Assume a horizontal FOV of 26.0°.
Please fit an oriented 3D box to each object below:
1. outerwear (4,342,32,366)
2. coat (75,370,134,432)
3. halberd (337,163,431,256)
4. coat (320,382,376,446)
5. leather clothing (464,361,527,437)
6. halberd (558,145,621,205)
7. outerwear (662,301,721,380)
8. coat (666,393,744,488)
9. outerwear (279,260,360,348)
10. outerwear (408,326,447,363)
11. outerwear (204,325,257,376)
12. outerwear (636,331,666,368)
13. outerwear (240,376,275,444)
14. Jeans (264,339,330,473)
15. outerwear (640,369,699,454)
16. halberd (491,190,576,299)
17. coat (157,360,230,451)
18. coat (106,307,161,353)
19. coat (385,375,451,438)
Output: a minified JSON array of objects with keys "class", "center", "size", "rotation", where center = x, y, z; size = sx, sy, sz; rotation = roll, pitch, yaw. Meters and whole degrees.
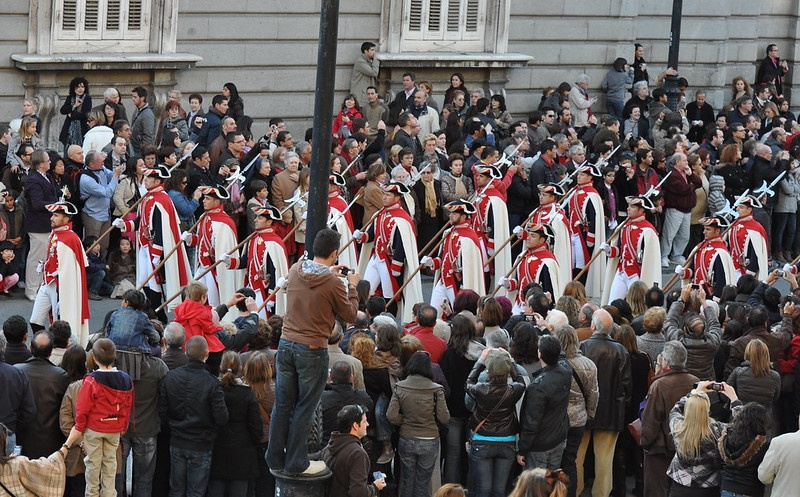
[{"class":"outerwear","center":[-5.161,1.411,23.222],"size":[0.507,0.273,0.261],"rotation":[0,8,-7]},{"class":"coat","center":[-3.919,2.007,22.765],"size":[0.784,0.802,0.505],"rotation":[-3,18,-23]},{"class":"halberd","center":[-0.353,-0.437,28.866],"size":[1.001,1.978,0.843],"rotation":[7,12,7]},{"class":"coat","center":[-0.765,2.144,23.062],"size":[0.997,0.695,0.440],"rotation":[-8,1,-19]},{"class":"leather clothing","center":[1.293,2.019,23.110],"size":[0.999,1.110,0.619],"rotation":[0,39,1]},{"class":"halberd","center":[3.244,-1.244,29.772],"size":[0.397,0.276,1.594],"rotation":[5,33,38]},{"class":"outerwear","center":[4.154,1.484,24.583],"size":[0.761,1.318,0.931],"rotation":[-4,33,-5]},{"class":"coat","center":[4.003,2.539,22.722],"size":[0.921,1.152,0.789],"rotation":[16,50,18]},{"class":"outerwear","center":[-1.074,0.712,22.149],"size":[1.097,0.937,0.792],"rotation":[13,3,21]},{"class":"outerwear","center":[0.382,1.309,23.911],"size":[0.564,0.483,0.436],"rotation":[4,3,12]},{"class":"outerwear","center":[-2.362,1.383,23.838],"size":[0.663,0.692,0.368],"rotation":[3,3,-13]},{"class":"outerwear","center":[3.503,1.417,24.103],"size":[0.509,0.556,0.330],"rotation":[7,3,6]},{"class":"outerwear","center":[-1.850,2.134,23.009],"size":[0.682,0.776,0.356],"rotation":[-3,8,-28]},{"class":"Jeans","center":[-1.291,1.928,22.020],"size":[0.720,1.712,0.563],"rotation":[3,0,34]},{"class":"outerwear","center":[3.686,2.263,23.750],"size":[0.979,1.169,0.750],"rotation":[-7,4,-35]},{"class":"halberd","center":[2.175,-0.034,27.958],"size":[0.926,2.197,0.983],"rotation":[-18,37,-42]},{"class":"coat","center":[-2.688,2.107,23.219],"size":[1.092,1.187,0.747],"rotation":[3,-2,25]},{"class":"coat","center":[-3.695,1.189,23.285],"size":[0.845,0.797,0.384],"rotation":[0,-32,1]},{"class":"coat","center":[0.107,2.173,23.303],"size":[0.999,0.830,0.573],"rotation":[5,-6,-33]}]
